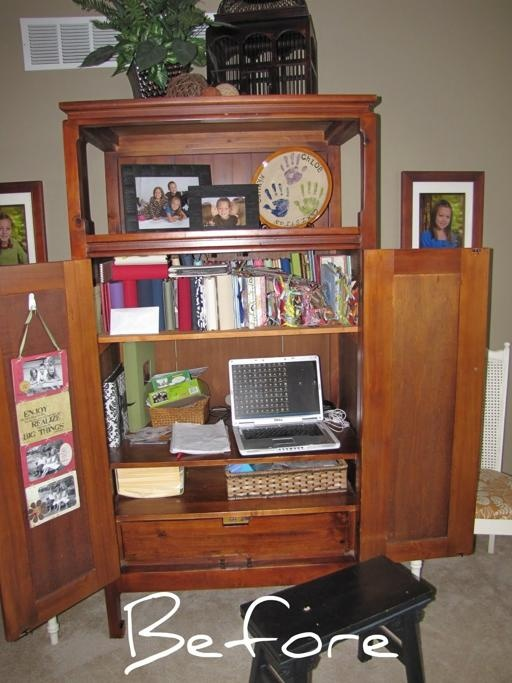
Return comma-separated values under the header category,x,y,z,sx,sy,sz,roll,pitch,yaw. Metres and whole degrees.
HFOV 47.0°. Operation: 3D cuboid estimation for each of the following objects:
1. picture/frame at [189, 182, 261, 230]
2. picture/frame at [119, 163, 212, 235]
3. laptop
category,x,y,z,sx,sy,sz,roll,pitch,yaw
picture/frame,-0.103,-0.420,1.844,0.182,0.113,0.006,0,-4,-2
picture/frame,-0.314,-0.487,2.019,0.335,0.230,0.013,-2,-4,-9
laptop,0.083,0.206,2.116,0.374,0.231,0.343,-3,39,-4
